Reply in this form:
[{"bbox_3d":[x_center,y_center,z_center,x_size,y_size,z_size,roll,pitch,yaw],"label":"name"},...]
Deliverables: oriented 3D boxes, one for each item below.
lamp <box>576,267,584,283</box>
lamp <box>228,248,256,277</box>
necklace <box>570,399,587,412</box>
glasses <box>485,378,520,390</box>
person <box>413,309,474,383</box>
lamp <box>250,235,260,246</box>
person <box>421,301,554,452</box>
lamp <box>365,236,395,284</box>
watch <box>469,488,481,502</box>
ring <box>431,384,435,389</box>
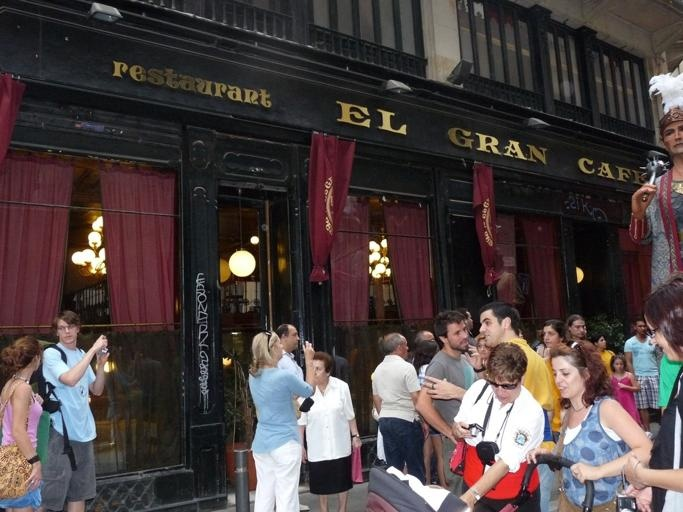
[{"bbox_3d":[5.825,0.456,16.336,0.169,0.399,0.101,-1,-6,-12],"label":"lamp"},{"bbox_3d":[-1.684,0.126,11.416,0.444,0.455,0.351,-1,-7,-9],"label":"lamp"},{"bbox_3d":[2.130,1.341,5.994,0.082,0.116,0.085,0,23,25],"label":"necklace"},{"bbox_3d":[1.464,1.164,6.033,0.233,0.094,0.108,-5,-7,18],"label":"glasses"},{"bbox_3d":[1.342,1.220,8.854,0.494,0.897,0.934,-15,-4,28],"label":"person"},{"bbox_3d":[-1.481,-0.270,11.478,0.176,0.172,0.038,4,-9,-42],"label":"lamp"},{"bbox_3d":[1.651,1.439,7.199,1.136,1.884,0.879,-3,2,5],"label":"person"},{"bbox_3d":[0.680,0.074,12.097,0.427,0.799,0.228,2,-7,-41],"label":"lamp"},{"bbox_3d":[1.141,2.037,5.725,0.027,0.105,0.100,-20,26,-11],"label":"watch"},{"bbox_3d":[0.988,1.407,7.220,0.029,0.011,0.039,-2,22,0],"label":"ring"}]
